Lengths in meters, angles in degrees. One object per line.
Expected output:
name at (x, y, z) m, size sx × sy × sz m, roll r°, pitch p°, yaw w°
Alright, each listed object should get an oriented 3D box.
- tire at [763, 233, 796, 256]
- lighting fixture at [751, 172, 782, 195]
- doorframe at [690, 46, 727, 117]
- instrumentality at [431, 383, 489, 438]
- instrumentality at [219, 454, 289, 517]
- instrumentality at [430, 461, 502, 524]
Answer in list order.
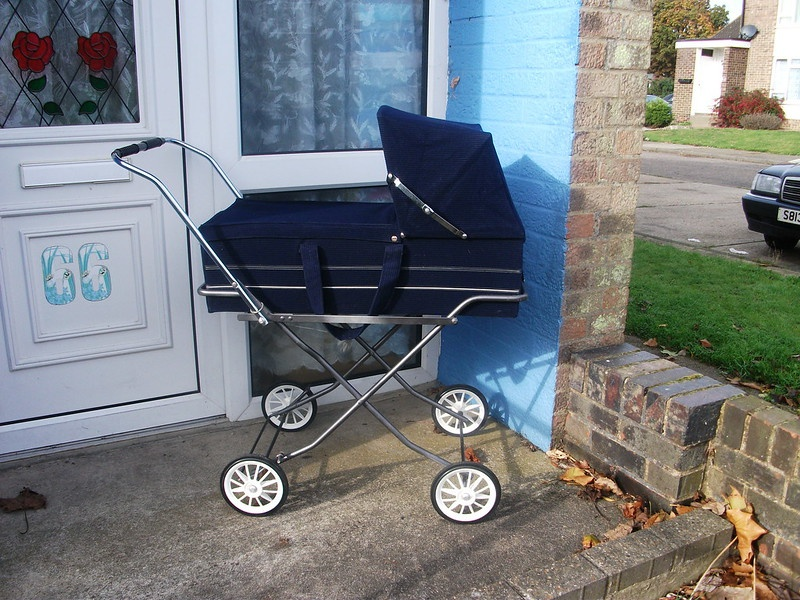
tire at (4.250, -0.633, 7.383) m, size 0.339 × 0.343 × 0.190 m, roll 0°, pitch 3°, yaw -4°
lighting fixture at (3.982, -1.257, 7.187) m, size 0.233 × 0.151 × 0.234 m, roll 8°, pitch 27°, yaw 20°
doorframe at (16.957, -11.887, 36.557) m, size 2.059 × 3.020 × 1.869 m, roll 14°, pitch 27°, yaw 33°
instrumentality at (0.330, 0.603, 3.626) m, size 0.304 × 0.288 × 0.294 m, roll 4°, pitch 5°, yaw 12°
instrumentality at (-0.660, 0.849, 2.999) m, size 0.228 × 0.222 × 0.043 m, roll -28°, pitch 8°, yaw 6°
instrumentality at (0.295, 0.881, 2.993) m, size 0.301 × 0.286 × 0.056 m, roll -2°, pitch 12°, yaw 3°
